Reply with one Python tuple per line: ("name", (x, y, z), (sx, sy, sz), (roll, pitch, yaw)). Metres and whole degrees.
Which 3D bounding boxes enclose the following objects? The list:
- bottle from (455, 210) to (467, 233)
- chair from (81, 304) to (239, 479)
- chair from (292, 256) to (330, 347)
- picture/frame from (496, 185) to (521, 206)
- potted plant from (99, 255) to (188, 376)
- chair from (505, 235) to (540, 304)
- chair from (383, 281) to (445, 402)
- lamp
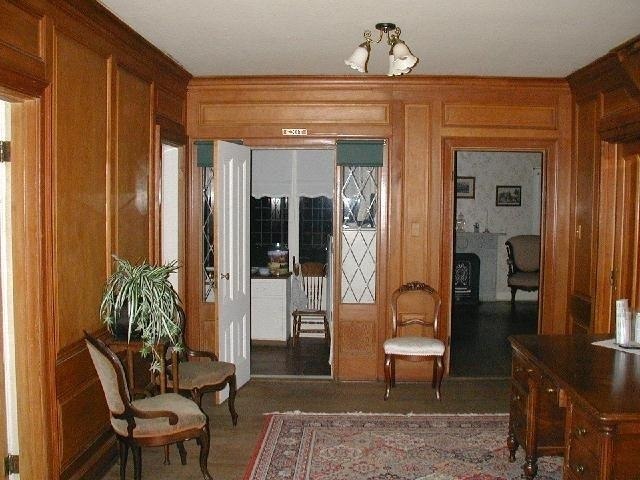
("bottle", (2.593, -0.334, 9.384), (0.156, 0.345, 0.318), (2, 7, 17))
("chair", (-1.172, 1.171, 3.970), (1.190, 1.484, 1.108), (-3, 2, 1))
("chair", (-0.132, 0.825, 6.833), (0.476, 0.989, 0.829), (-1, 7, -3))
("picture/frame", (3.470, -0.849, 9.439), (0.373, 0.301, 0.028), (-1, 1, -2))
("potted plant", (-1.220, 0.485, 3.890), (0.795, 0.900, 0.741), (2, 6, -20))
("chair", (3.487, 0.531, 8.864), (0.565, 1.210, 0.930), (2, 7, 20))
("chair", (0.950, 0.975, 5.086), (0.620, 1.067, 0.751), (1, 7, 13))
("lamp", (0.469, -1.410, 3.771), (0.505, 0.333, 0.503), (3, 8, -2))
